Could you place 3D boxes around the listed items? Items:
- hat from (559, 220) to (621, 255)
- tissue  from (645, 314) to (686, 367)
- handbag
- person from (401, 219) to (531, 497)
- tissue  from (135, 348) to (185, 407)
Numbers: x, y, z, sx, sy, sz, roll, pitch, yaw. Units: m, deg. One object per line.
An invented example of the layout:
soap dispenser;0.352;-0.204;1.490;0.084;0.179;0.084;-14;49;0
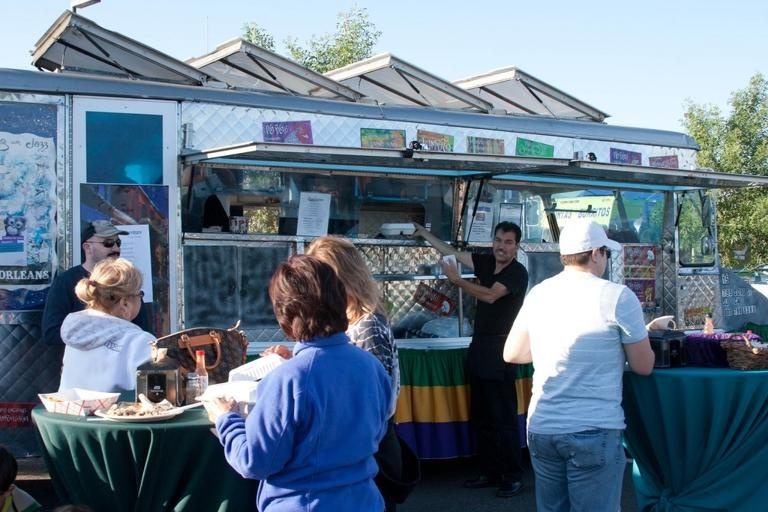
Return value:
hat;1.494;-0.171;6.468;0.400;0.203;0.297;3;26;17
tissue ;2.220;0.702;7.008;0.386;0.434;0.280;-5;-9;10
handbag;-1.385;0.745;6.660;0.442;0.374;0.176;-2;9;-36
person;0.733;0.875;8.338;0.764;2.556;1.317;8;-10;-43
tissue ;-1.591;0.853;6.335;0.381;0.460;0.381;0;1;-3
